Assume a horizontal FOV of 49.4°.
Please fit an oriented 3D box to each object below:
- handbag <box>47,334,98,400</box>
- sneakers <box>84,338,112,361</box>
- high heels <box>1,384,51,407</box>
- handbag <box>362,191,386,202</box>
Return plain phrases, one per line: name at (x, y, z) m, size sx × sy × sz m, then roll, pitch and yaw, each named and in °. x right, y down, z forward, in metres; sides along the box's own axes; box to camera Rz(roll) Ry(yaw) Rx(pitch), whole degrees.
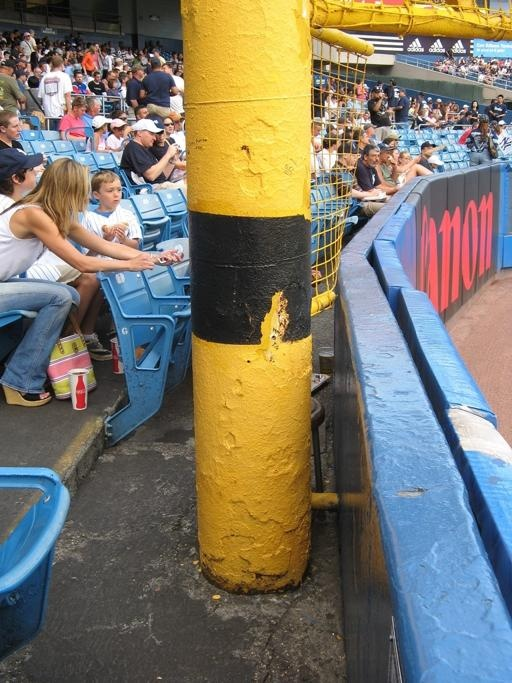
handbag at (-1.206, 0.176, 3.613) m, size 0.188 × 0.468 × 0.359 m, roll 6°, pitch 15°, yaw 40°
sneakers at (-1.214, 0.073, 4.284) m, size 0.263 × 0.109 × 0.095 m, roll 20°, pitch 18°, yaw 4°
high heels at (-1.460, 0.346, 3.533) m, size 0.245 × 0.100 × 0.134 m, roll -3°, pitch 15°, yaw -7°
handbag at (1.822, -2.258, 8.671) m, size 0.243 × 0.154 × 0.375 m, roll 9°, pitch 13°, yaw 37°
